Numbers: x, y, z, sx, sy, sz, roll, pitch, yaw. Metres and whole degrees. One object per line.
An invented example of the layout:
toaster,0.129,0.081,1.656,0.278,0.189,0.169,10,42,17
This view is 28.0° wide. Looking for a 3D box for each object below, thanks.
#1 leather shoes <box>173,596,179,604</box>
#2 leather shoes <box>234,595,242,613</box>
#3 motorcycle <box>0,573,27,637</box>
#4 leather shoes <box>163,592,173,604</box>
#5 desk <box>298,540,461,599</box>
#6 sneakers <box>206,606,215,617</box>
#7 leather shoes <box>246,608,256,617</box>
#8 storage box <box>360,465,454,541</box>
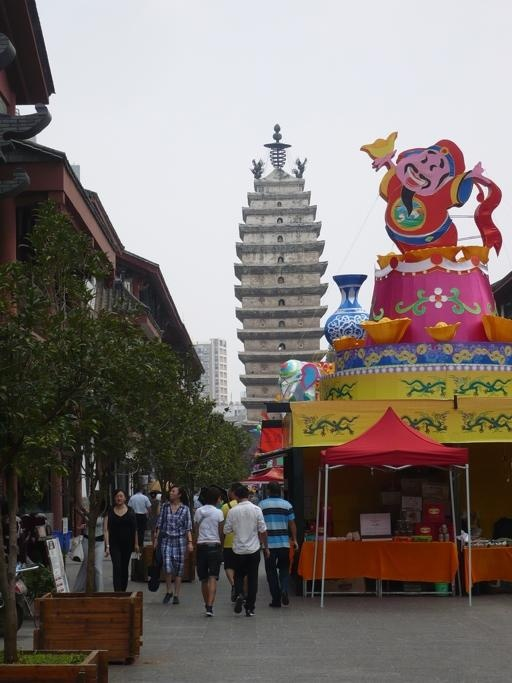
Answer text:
leather shoes,-1.082,3.492,13.916,0.104,0.121,0.283,1,-13,-6
leather shoes,-0.204,3.245,12.519,0.096,0.289,0.122,2,14,0
motorcycle,-2.531,2.731,10.725,0.252,0.641,1.174,1,-13,-12
leather shoes,-1.212,3.496,14.005,0.084,0.099,0.247,-9,-5,18
desk,1.735,3.061,14.391,2.217,0.630,0.672,-3,-12,4
sneakers,-0.552,3.257,12.370,0.064,0.081,0.191,1,-24,-2
leather shoes,-0.071,3.268,12.403,0.056,0.067,0.159,0,0,6
storage box,2.445,2.564,16.524,1.355,1.290,2.655,-4,-13,8
